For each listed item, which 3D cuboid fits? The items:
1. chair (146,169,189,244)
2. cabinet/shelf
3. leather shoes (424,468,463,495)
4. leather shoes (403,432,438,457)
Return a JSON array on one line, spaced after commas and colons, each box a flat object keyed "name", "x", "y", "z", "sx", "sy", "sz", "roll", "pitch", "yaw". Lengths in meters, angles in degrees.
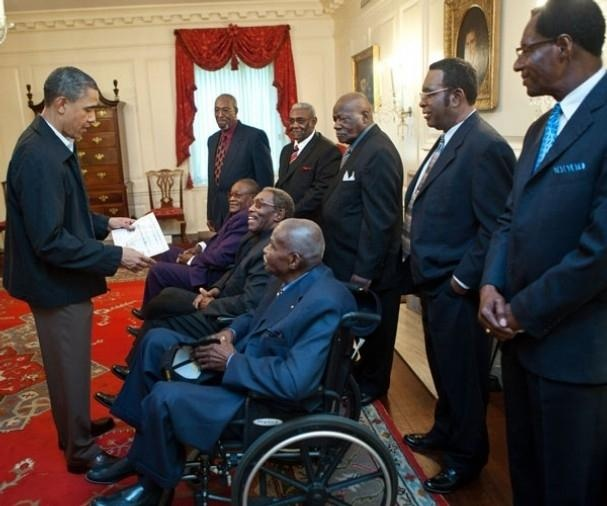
[{"name": "chair", "x": -2.171, "y": -0.728, "z": 7.877, "sx": 0.727, "sy": 1.072, "sz": 0.742, "roll": -10, "pitch": 20, "yaw": -31}, {"name": "cabinet/shelf", "x": -3.279, "y": -1.054, "z": 7.741, "sx": 1.221, "sy": 2.611, "sz": 0.900, "roll": -10, "pitch": -27, "yaw": -13}, {"name": "leather shoes", "x": 0.652, "y": 1.042, "z": 2.331, "sx": 0.198, "sy": 0.084, "sz": 0.086, "roll": 5, "pitch": 0, "yaw": -22}, {"name": "leather shoes", "x": 0.624, "y": 0.988, "z": 2.629, "sx": 0.214, "sy": 0.097, "sz": 0.074, "roll": 8, "pitch": 6, "yaw": 13}]
